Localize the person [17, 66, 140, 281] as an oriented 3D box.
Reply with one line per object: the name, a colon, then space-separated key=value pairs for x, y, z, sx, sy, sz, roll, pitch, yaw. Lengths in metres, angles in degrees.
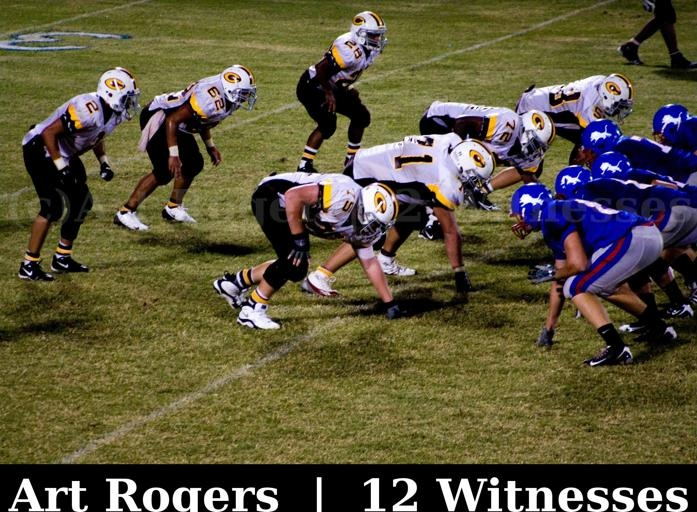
person: x=-2.414 y=-0.711 z=7.757 sx=0.544 sy=1.601 sz=1.369 roll=17 pitch=33 yaw=38

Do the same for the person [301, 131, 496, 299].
person: x=0.442 y=-0.340 z=7.612 sx=1.701 sy=1.199 sz=0.804 roll=-5 pitch=13 yaw=8

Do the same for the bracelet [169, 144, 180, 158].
bracelet: x=-1.630 y=-0.976 z=8.370 sx=0.105 sy=0.105 sz=0.104 roll=14 pitch=20 yaw=38

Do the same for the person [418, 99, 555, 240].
person: x=1.123 y=-0.837 z=8.001 sx=1.309 sy=0.836 sz=0.779 roll=5 pitch=9 yaw=1

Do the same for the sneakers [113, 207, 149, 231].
sneakers: x=-2.119 y=-0.334 z=8.770 sx=0.341 sy=0.156 sz=0.178 roll=23 pitch=43 yaw=-2

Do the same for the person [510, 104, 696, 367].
person: x=1.748 y=0.077 z=6.352 sx=1.488 sy=1.554 sz=1.041 roll=-3 pitch=4 yaw=26

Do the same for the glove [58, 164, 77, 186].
glove: x=-2.381 y=-0.691 z=7.601 sx=0.136 sy=0.171 sz=0.122 roll=-17 pitch=28 yaw=-24

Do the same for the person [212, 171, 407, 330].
person: x=-0.355 y=-0.007 z=7.017 sx=1.550 sy=1.142 sz=0.764 roll=5 pitch=5 yaw=18

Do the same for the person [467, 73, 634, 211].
person: x=1.899 y=-1.101 z=8.696 sx=2.201 sy=0.965 sz=0.572 roll=-25 pitch=7 yaw=-24

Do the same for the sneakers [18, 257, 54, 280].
sneakers: x=-2.614 y=0.130 z=7.627 sx=0.357 sy=0.171 sz=0.128 roll=3 pitch=9 yaw=-9

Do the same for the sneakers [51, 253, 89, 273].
sneakers: x=-2.432 y=0.068 z=7.761 sx=0.358 sy=0.146 sz=0.127 roll=3 pitch=16 yaw=-12

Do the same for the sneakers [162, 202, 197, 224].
sneakers: x=-1.619 y=-0.395 z=8.997 sx=0.429 sy=0.196 sz=0.140 roll=14 pitch=54 yaw=-14

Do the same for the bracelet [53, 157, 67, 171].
bracelet: x=-2.421 y=-0.779 z=7.587 sx=0.116 sy=0.098 sz=0.111 roll=-2 pitch=14 yaw=14

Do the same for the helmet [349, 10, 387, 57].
helmet: x=0.229 y=-2.405 z=9.787 sx=0.406 sy=0.486 sz=0.287 roll=-13 pitch=27 yaw=-16

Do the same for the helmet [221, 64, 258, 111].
helmet: x=-1.051 y=-1.583 z=8.587 sx=0.303 sy=0.460 sz=0.394 roll=-8 pitch=26 yaw=-6
